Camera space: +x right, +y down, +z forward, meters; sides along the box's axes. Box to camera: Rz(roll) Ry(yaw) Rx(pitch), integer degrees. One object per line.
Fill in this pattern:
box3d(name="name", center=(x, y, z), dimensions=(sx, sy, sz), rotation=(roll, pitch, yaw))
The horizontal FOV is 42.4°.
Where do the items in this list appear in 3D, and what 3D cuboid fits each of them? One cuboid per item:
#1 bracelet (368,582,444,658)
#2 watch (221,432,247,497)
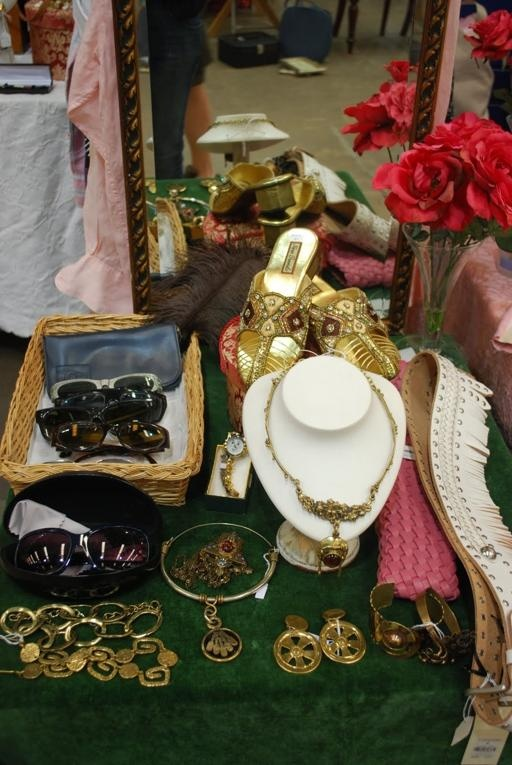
box3d(name="bracelet", center=(0.125, 0.199, 0.550), dimensions=(0.063, 0.028, 0.056), rotation=(-5, 34, -3))
box3d(name="watch", center=(-0.026, 0.085, 0.691), dimensions=(0.023, 0.014, 0.062), rotation=(9, 51, -12))
